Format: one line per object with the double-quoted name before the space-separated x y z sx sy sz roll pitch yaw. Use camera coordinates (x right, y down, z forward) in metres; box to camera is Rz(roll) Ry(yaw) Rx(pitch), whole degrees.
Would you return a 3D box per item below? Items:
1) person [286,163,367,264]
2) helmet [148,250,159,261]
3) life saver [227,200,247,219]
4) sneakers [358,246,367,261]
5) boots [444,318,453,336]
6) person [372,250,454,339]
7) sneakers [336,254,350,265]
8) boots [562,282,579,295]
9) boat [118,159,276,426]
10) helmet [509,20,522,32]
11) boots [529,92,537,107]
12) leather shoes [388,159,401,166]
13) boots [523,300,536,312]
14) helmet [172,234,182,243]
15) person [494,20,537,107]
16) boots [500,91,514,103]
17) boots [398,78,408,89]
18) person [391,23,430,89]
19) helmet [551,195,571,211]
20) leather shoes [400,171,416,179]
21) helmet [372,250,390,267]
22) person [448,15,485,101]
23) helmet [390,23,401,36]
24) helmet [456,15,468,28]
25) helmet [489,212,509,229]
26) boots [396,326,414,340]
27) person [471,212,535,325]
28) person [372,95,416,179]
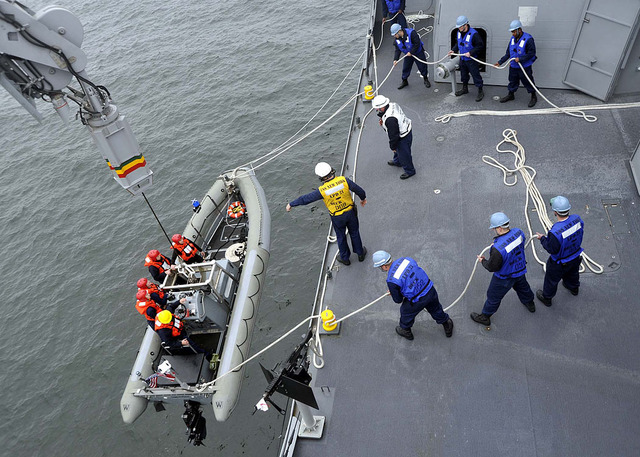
"person" 0.362 -0.290 9.420 1.128 1.607 0.893 28 59 32
"helmet" -3.405 0.552 11.092 0.242 0.193 0.199 -10 56 17
"life saver" -1.919 -0.428 12.630 0.412 0.146 0.413 -42 81 -1
"sneakers" 0.777 0.479 9.592 0.109 0.186 0.281 7 61 19
"boots" 2.039 1.578 8.479 0.137 0.176 0.293 -6 62 40
"person" 1.501 1.127 8.569 0.694 1.159 0.560 24 72 43
"sneakers" 0.435 0.574 9.635 0.231 0.099 0.115 26 69 15
"boots" 3.984 0.957 8.533 0.069 0.125 0.179 -43 66 6
"boat" -1.960 1.379 11.982 2.326 2.062 5.352 -3 60 29
"helmet" 3.850 -3.982 10.543 0.203 0.173 0.249 5 50 17
"boots" 4.428 -2.676 11.182 0.112 0.249 0.266 18 86 36
"leather shoes" 1.519 -1.315 10.867 0.256 0.110 0.098 11 71 7
"boots" 3.308 1.229 8.490 0.062 0.077 0.187 -39 68 2
"helmet" -2.978 0.197 11.388 0.281 0.219 0.213 -23 70 56
"person" 4.088 -3.406 10.960 0.882 1.621 0.801 13 53 23
"boots" 4.017 -2.812 11.459 0.354 0.242 0.155 7 73 24
"boots" 1.903 -3.347 12.497 0.280 0.197 0.118 -19 62 4
"person" 2.089 -4.001 12.254 0.768 1.326 1.056 -5 48 9
"helmet" 3.630 -0.373 8.096 0.238 0.166 0.306 4 46 28
"leather shoes" 1.734 -1.031 10.610 0.354 0.150 0.125 -2 88 9
"helmet" 0.942 0.501 8.298 0.293 0.186 0.236 -8 51 30
"person" 3.170 -3.712 11.416 0.687 1.751 1.070 1 49 14
"helmet" 1.727 -4.524 12.168 0.287 0.156 0.380 -47 21 27
"helmet" 2.891 -4.222 10.930 0.194 0.276 0.417 -1 49 12
"helmet" 2.656 -0.096 8.079 0.221 0.180 0.289 -32 28 -14
"boots" 1.362 1.687 8.633 0.303 0.207 0.137 31 68 16
"person" 2.904 0.720 8.502 0.757 1.560 0.690 -40 45 -6
"person" 1.455 -1.740 10.653 0.681 1.768 0.726 -5 61 19
